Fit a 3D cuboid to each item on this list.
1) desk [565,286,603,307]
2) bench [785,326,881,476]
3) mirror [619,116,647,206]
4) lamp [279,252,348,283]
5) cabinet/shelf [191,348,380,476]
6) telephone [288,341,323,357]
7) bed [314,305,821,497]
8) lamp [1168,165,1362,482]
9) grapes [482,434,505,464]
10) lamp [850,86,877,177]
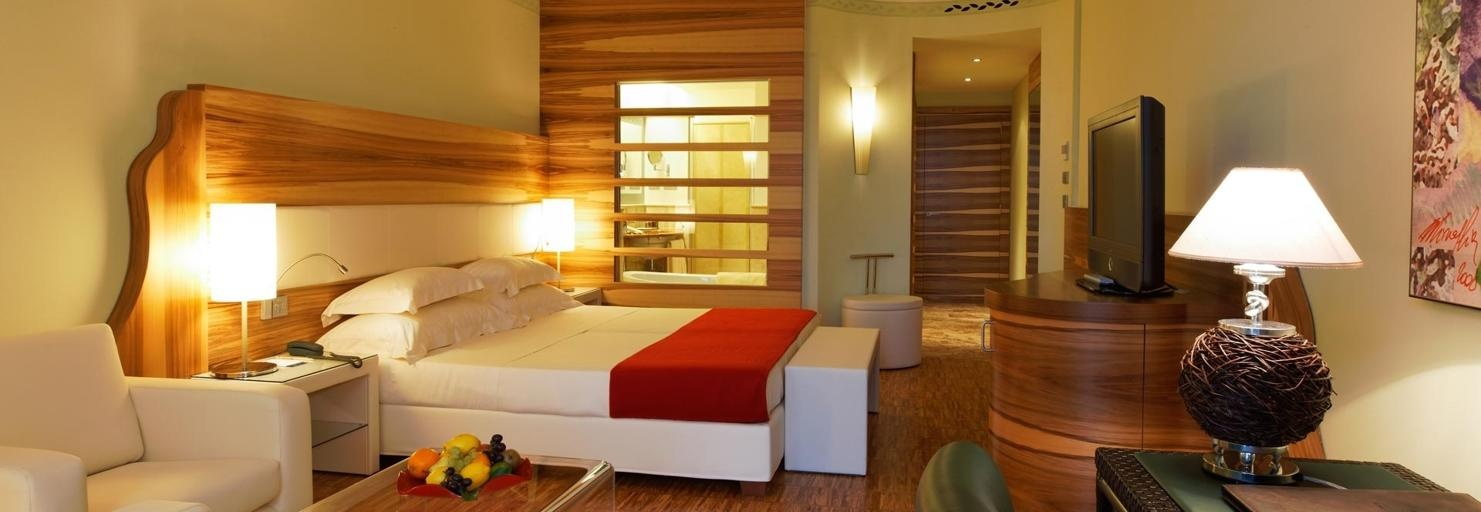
[{"bbox_3d":[-2.073,0.509,10.201,0.337,0.148,0.403,0,3,16],"label":"desk"},{"bbox_3d":[0.891,1.505,7.973,1.238,0.871,1.795,0,6,12],"label":"bench"},{"bbox_3d":[-1.459,-1.266,10.454,0.396,1.158,0.133,-6,9,-4],"label":"mirror"},{"bbox_3d":[-4.354,0.105,8.037,0.661,0.268,0.128,-7,8,-39],"label":"lamp"},{"bbox_3d":[-4.291,1.439,7.334,1.185,1.049,1.713,0,2,11],"label":"cabinet/shelf"},{"bbox_3d":[-4.343,0.927,7.806,0.367,0.090,0.145,-2,2,4],"label":"telephone"},{"bbox_3d":[-1.802,1.489,7.708,3.014,0.480,2.256,0,2,16],"label":"bed"},{"bbox_3d":[4.111,0.526,6.322,1.197,2.459,0.819,-11,10,-32],"label":"lamp"},{"bbox_3d":[-2.194,1.656,6.888,0.247,0.114,0.281,-8,28,-12],"label":"grapes"},{"bbox_3d":[1.695,-1.743,10.856,0.431,1.213,0.109,-9,10,-22],"label":"lamp"}]
